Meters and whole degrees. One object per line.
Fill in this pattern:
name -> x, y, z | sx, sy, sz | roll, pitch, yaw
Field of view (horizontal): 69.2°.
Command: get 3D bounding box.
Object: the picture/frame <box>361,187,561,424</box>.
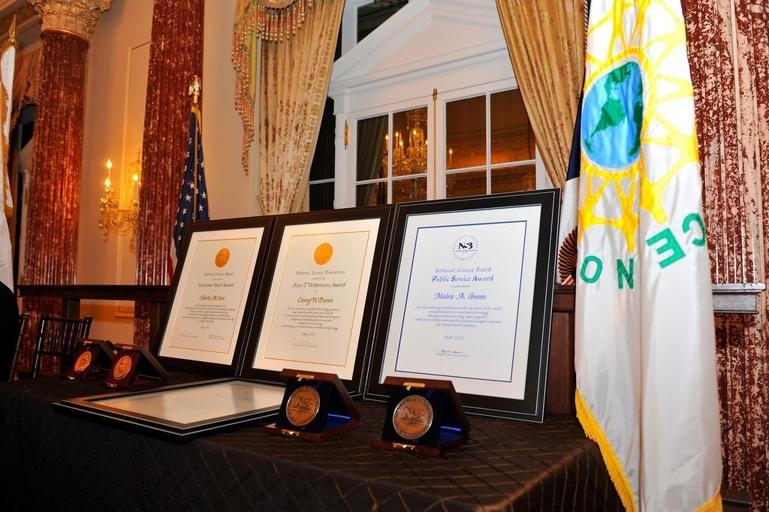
picture/frame -> 0.273, 0.194, 1.866 | 0.736, 0.944, 0.045 | -1, -21, 22

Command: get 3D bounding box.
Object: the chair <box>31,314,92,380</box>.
chair -> -1.991, 0.556, 3.366 | 0.287, 0.436, 0.293 | 12, -2, 36

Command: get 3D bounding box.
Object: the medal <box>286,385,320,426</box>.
medal -> -0.252, 0.469, 1.725 | 0.102, 0.113, 0.017 | -8, -23, 26

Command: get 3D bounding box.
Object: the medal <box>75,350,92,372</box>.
medal -> -1.181, 0.417, 2.186 | 0.078, 0.077, 0.038 | -1, -7, 36

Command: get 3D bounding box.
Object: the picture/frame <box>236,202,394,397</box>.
picture/frame -> -0.242, 0.187, 2.054 | 0.638, 0.828, 0.033 | 1, -20, 27

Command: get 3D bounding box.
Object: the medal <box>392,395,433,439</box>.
medal -> 0.086, 0.478, 1.639 | 0.109, 0.122, 0.019 | 7, -13, 27

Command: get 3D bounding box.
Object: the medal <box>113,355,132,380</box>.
medal -> -0.964, 0.420, 2.061 | 0.066, 0.080, 0.009 | -21, -43, 14
